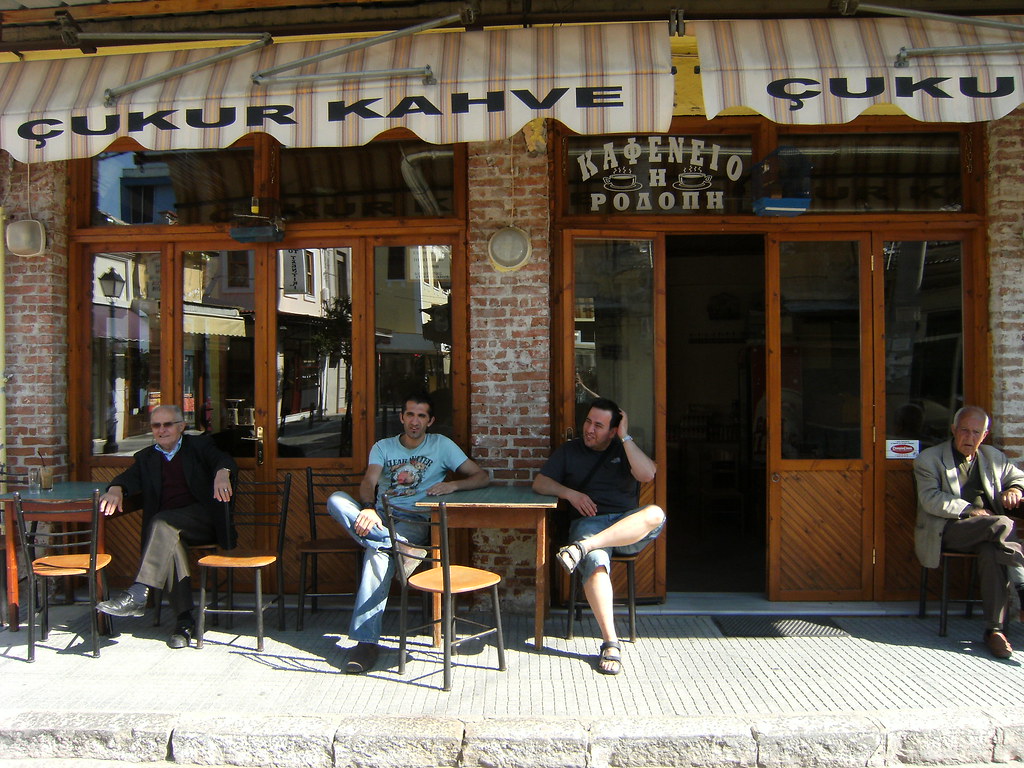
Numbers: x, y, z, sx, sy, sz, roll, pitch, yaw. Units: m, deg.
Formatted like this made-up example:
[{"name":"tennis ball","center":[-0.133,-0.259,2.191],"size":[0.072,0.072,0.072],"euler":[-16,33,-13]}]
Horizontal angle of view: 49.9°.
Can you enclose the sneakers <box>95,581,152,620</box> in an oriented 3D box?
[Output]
[{"name":"sneakers","center":[-2.883,1.653,8.386],"size":[0.478,0.222,0.178],"euler":[26,-7,-41]}]

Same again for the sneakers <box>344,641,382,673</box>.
[{"name":"sneakers","center":[-1.083,2.008,8.050],"size":[0.105,0.224,0.324],"euler":[1,-17,5]}]

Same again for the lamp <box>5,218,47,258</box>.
[{"name":"lamp","center":[-4.132,-1.233,9.382],"size":[0.294,0.310,0.155],"euler":[4,3,-20]}]

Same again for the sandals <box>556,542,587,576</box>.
[{"name":"sandals","center":[0.458,1.327,8.326],"size":[0.224,0.288,0.356],"euler":[-3,2,-8]}]

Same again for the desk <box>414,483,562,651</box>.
[{"name":"desk","center":[-0.099,1.348,8.355],"size":[1.041,1.271,1.116],"euler":[-1,-3,10]}]

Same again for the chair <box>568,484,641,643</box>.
[{"name":"chair","center":[0.778,1.426,8.479],"size":[0.704,1.098,0.993],"euler":[-3,2,6]}]

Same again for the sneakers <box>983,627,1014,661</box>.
[{"name":"sneakers","center":[3.618,1.930,8.157],"size":[0.109,0.110,0.270],"euler":[-14,6,7]}]

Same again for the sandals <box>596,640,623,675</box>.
[{"name":"sandals","center":[0.717,1.981,8.037],"size":[0.184,0.215,0.254],"euler":[-3,2,5]}]
